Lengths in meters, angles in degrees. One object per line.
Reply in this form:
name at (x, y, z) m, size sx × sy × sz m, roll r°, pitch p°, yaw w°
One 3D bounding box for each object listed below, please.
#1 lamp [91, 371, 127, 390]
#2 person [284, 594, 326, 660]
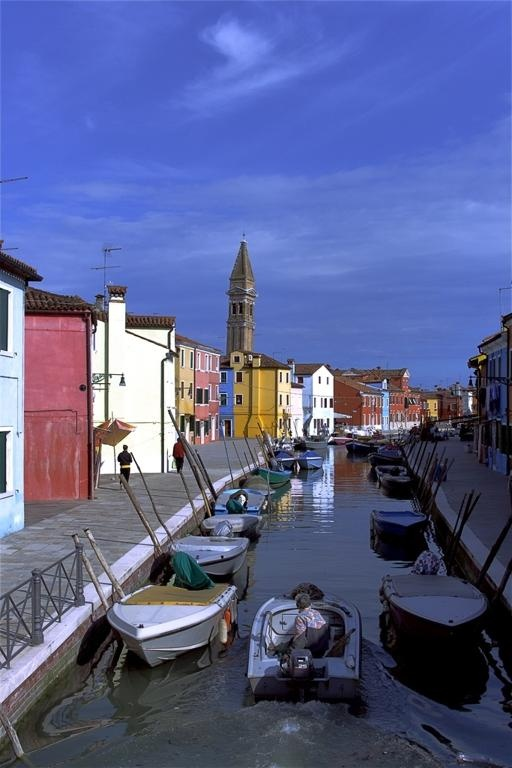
lamp at (-6.515, -0.149, 32.069) m, size 0.926 × 0.726 × 1.759 m, roll 5°, pitch -1°, yaw 13°
person at (0.744, 3.540, 10.996) m, size 0.636 × 0.827 × 0.720 m, roll -3°, pitch 9°, yaw 12°
